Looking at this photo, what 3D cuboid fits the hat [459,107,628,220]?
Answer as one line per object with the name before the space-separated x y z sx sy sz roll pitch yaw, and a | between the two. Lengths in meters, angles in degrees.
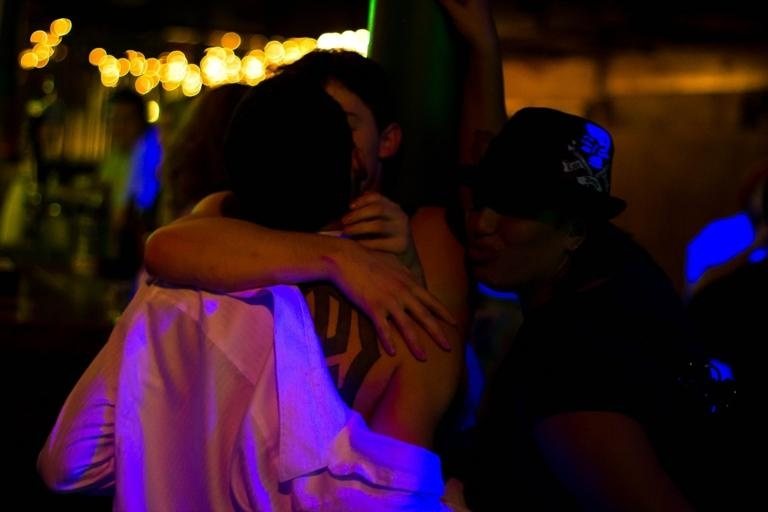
hat | 0.513 -0.286 2.800 0.361 0.223 0.321 14 8 -13
